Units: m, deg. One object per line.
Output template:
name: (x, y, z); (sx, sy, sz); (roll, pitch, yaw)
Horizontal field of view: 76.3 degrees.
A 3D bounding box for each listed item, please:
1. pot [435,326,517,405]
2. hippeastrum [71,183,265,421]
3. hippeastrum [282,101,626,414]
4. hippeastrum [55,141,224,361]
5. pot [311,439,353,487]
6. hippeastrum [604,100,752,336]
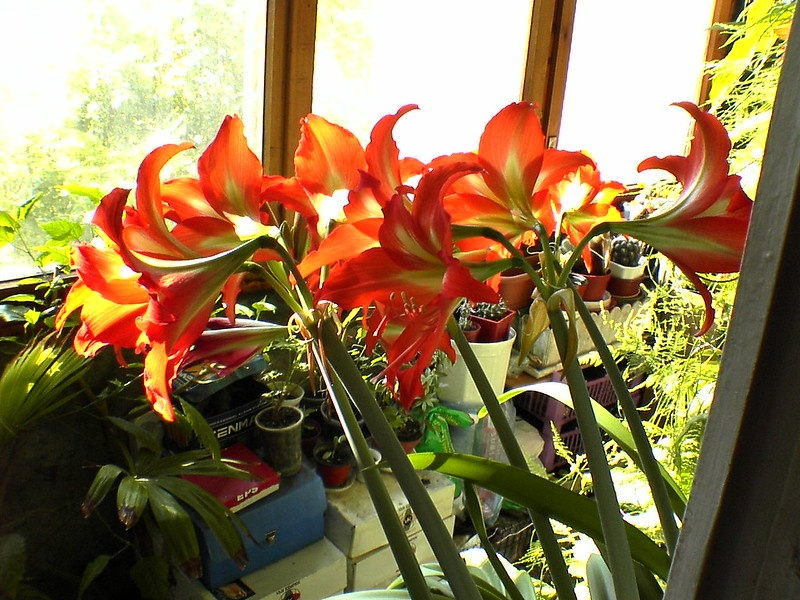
pot: (0.242, 0.248, 1.953); (0.311, 0.362, 0.363); (0, 10, 1)
hippeastrum: (-0.160, -0.003, 0.412); (0.156, 0.132, 0.110); (-9, -36, -25)
hippeastrum: (0.029, -0.039, 0.476); (0.247, 0.253, 0.203); (-8, -3, -30)
hippeastrum: (-0.164, -0.020, 0.419); (0.142, 0.141, 0.143); (1, 47, -16)
pot: (-0.209, 0.515, 1.615); (0.123, 0.135, 0.123); (-14, 8, 2)
hippeastrum: (0.211, -0.052, 0.379); (0.092, 0.187, 0.062); (-16, 8, -12)
